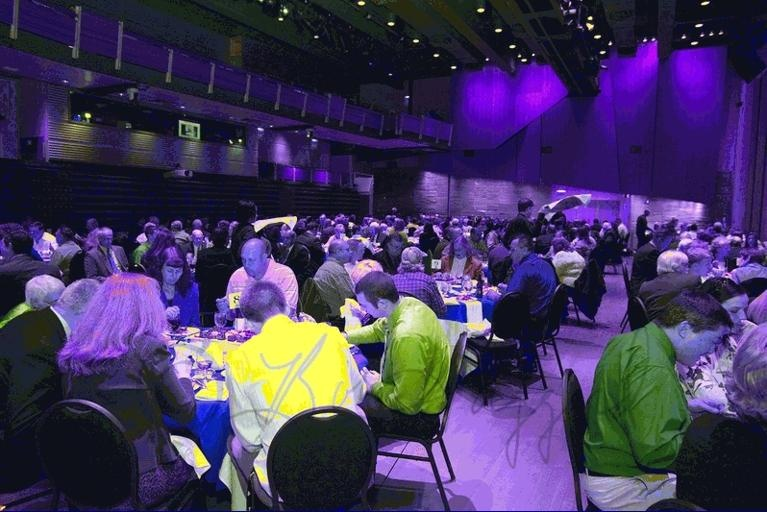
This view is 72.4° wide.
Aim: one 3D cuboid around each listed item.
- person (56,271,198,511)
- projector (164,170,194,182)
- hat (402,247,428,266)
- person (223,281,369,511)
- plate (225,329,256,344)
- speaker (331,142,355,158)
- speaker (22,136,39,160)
[{"bbox_3d":[-1.625,0.903,3.380,0.787,1.541,0.385,0,7,-16],"label":"person"},{"bbox_3d":[-5.624,-2.288,14.751,0.573,0.302,1.034,4,6,15],"label":"projector"},{"bbox_3d":[0.348,-0.008,5.958,0.214,0.165,0.328,1,8,22],"label":"hat"},{"bbox_3d":[-0.650,1.050,3.455,1.034,1.691,0.553,2,6,2],"label":"person"},{"bbox_3d":[-1.143,0.648,4.206,0.175,0.056,0.181,4,3,28],"label":"plate"},{"bbox_3d":[-1.830,-4.878,23.908,0.865,0.525,0.862,-6,7,37],"label":"speaker"},{"bbox_3d":[-7.955,-2.438,11.807,0.423,0.510,0.136,3,6,7],"label":"speaker"}]
